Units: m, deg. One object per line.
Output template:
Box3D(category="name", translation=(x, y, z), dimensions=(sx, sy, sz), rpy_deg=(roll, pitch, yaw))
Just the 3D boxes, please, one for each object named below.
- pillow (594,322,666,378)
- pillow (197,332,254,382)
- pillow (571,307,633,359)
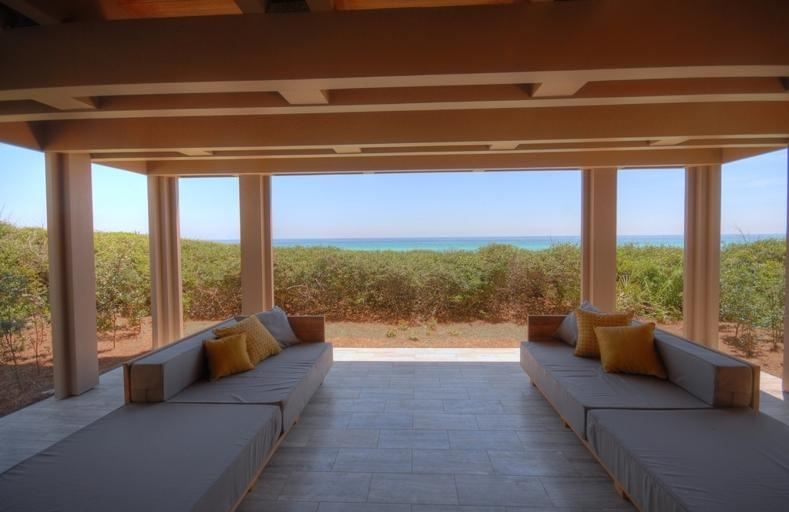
Box3D(category="pillow", translation=(2.704, 1.075, 6.217), dimensions=(0.607, 0.601, 0.193), rpy_deg=(-12, -14, 23))
Box3D(category="pillow", translation=(-1.899, 1.158, 6.240), dimensions=(0.469, 0.466, 0.199), rpy_deg=(-13, -18, -38))
Box3D(category="pillow", translation=(2.496, 0.946, 6.589), dimensions=(0.514, 0.496, 0.189), rpy_deg=(-3, -17, 14))
